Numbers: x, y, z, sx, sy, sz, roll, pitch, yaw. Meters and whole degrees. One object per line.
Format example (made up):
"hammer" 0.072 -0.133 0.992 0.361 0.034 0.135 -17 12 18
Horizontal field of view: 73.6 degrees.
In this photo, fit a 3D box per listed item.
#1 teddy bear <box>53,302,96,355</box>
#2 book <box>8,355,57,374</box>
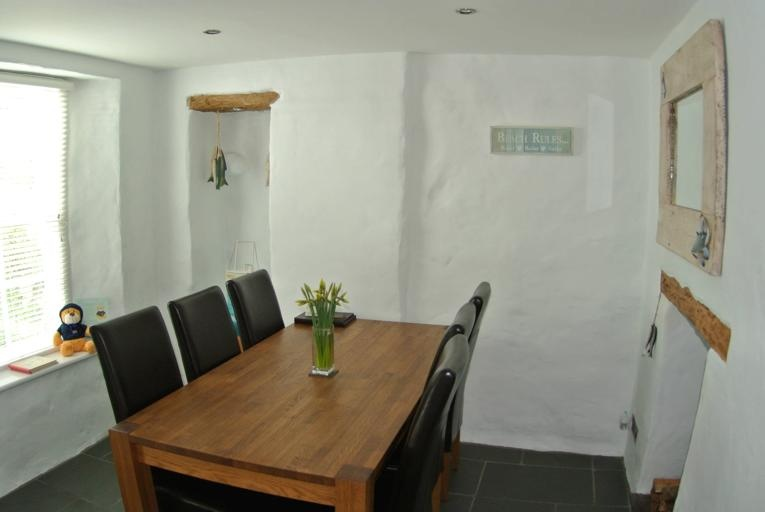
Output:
"teddy bear" -2.507 0.590 4.168 0.325 0.431 0.289 -3 -3 -34
"book" -2.653 0.811 3.898 0.252 0.053 0.266 8 16 27
